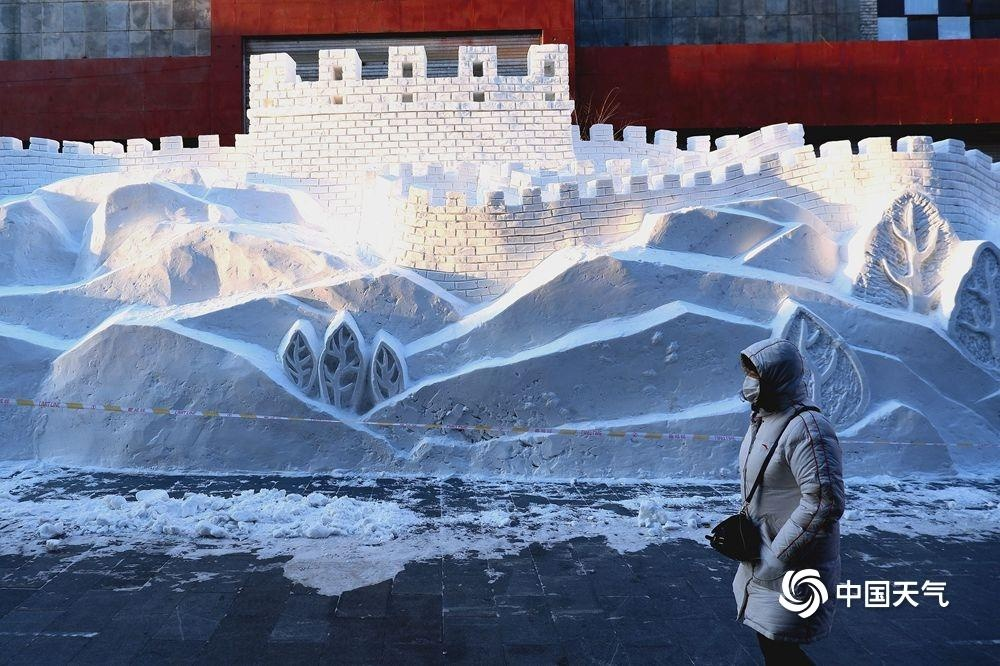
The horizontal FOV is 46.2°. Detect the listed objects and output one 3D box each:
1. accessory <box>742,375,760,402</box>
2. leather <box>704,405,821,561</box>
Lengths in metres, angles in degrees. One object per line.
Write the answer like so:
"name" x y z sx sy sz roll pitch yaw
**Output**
"accessory" 3.056 0.757 14.403 0.286 0.241 0.239 0 4 -1
"leather" 3.257 2.146 14.608 1.194 2.071 0.796 21 -10 25
